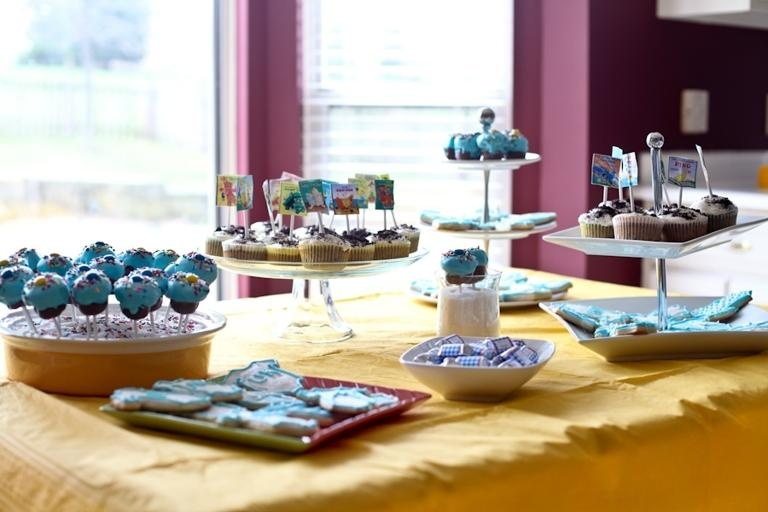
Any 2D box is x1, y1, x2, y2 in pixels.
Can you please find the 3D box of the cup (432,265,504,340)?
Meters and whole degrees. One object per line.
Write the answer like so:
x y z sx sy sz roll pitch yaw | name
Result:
0.188 0.114 1.738 0.163 0.155 0.151 1 4 0 | cup

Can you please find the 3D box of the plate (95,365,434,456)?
-0.186 0.280 1.309 0.573 0.080 0.182 -5 6 -13 | plate
